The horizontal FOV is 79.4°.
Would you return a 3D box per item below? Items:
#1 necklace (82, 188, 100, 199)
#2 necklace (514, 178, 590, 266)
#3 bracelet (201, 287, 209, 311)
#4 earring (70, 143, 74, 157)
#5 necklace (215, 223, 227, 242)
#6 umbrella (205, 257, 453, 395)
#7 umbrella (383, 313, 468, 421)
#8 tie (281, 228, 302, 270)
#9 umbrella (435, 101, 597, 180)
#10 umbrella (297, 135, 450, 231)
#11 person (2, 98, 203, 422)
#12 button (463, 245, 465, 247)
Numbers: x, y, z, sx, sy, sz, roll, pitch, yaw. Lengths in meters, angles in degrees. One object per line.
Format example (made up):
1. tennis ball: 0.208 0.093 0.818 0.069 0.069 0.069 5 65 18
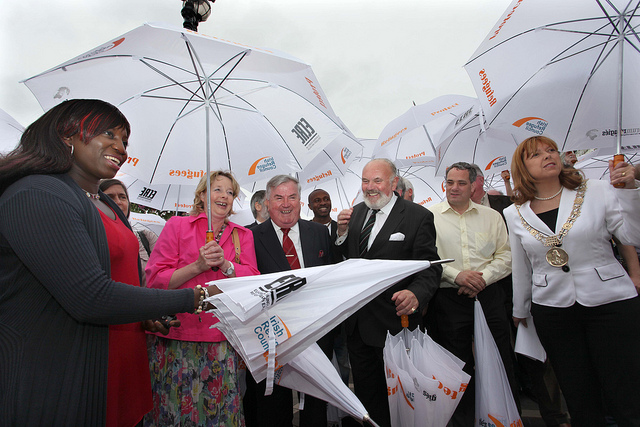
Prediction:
1. necklace: -1.633 -0.145 2.731 0.073 0.022 0.071 16 -24 -8
2. necklace: 2.333 0.042 3.782 0.754 0.744 0.305 -14 -38 44
3. bracelet: -0.815 0.599 2.734 0.048 0.124 0.103 -2 -1 -18
4. earring: -1.667 -0.430 2.585 0.016 0.089 0.026 -3 -1 7
5. necklace: -1.010 0.170 3.947 0.077 0.134 0.180 -3 -2 17
6. umbrella: 0.104 0.684 2.863 1.705 0.635 0.856 -14 35 -8
7. umbrella: 0.949 1.455 3.931 0.838 0.991 0.784 -1 -3 1
8. tie: -0.353 0.435 4.545 0.136 0.621 0.082 -11 -20 -18
9. umbrella: 2.992 -0.923 6.878 1.535 1.024 1.407 13 -14 -34
10. umbrella: 0.862 -0.618 6.700 1.955 1.860 1.713 -1 -20 -2
11. person: -1.555 0.269 2.507 0.821 2.129 0.658 -2 -1 -40
12. button: 1.827 0.404 4.906 0.024 0.024 0.024 11 20 14
